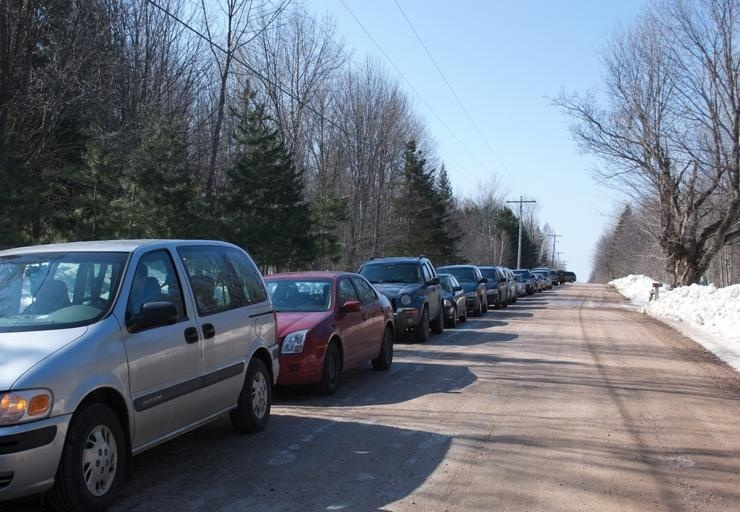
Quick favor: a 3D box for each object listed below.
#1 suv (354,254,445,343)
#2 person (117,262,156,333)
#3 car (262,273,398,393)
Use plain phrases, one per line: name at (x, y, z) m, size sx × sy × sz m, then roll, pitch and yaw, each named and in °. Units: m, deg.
suv at (1.036, 1.138, 15.551) m, size 1.638 × 1.589 × 2.937 m, roll -2°, pitch -7°, yaw 13°
person at (-2.432, 0.387, 5.786) m, size 0.310 × 0.103 × 0.908 m, roll 11°, pitch -48°, yaw -14°
car at (-0.780, 1.349, 9.921) m, size 1.463 × 1.213 × 2.654 m, roll -2°, pitch -6°, yaw 20°
